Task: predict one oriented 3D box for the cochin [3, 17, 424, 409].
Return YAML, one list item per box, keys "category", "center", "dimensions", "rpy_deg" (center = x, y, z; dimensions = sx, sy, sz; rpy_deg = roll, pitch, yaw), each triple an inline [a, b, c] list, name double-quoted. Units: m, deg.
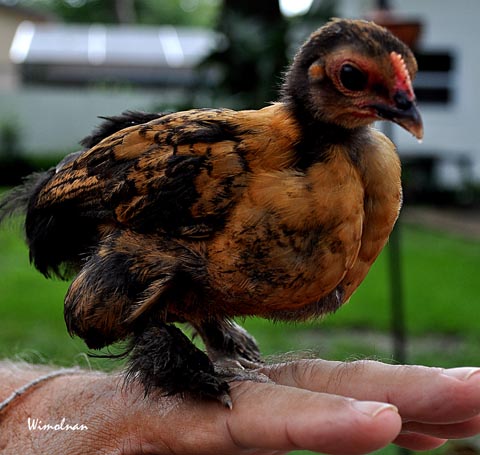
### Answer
- category: "cochin"
  center: [-0.148, -0.066, 3.024]
  dimensions: [1.555, 1.343, 0.841]
  rpy_deg: [3, 30, 7]
